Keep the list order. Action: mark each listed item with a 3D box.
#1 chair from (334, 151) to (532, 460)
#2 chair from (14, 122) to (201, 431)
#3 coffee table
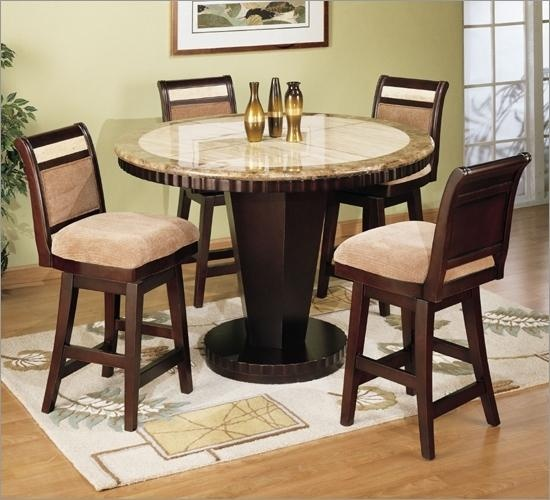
[{"bbox_3d":[0.516,0.170,1.796,0.461,0.885,0.555,-8,10,-31],"label":"chair"},{"bbox_3d":[-0.647,0.087,2.001,0.662,0.949,0.555,5,11,2],"label":"chair"},{"bbox_3d":[-0.083,-0.106,2.413,1.322,0.856,1.244,-3,21,-9],"label":"coffee table"}]
